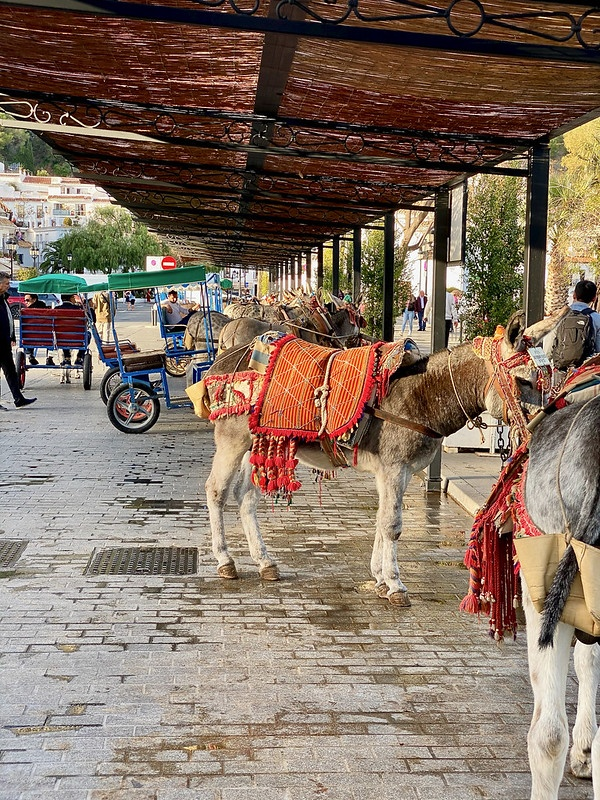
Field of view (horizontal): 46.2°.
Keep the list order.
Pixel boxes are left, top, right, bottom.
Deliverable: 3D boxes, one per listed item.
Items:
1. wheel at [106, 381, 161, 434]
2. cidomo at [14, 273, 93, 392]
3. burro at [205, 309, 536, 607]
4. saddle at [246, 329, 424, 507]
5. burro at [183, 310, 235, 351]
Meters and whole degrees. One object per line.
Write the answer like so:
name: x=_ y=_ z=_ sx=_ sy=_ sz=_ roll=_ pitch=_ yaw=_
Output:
wheel: x=-2.842 y=0.141 z=12.005 sx=1.060 sy=0.929 sz=0.400 roll=2 pitch=9 yaw=-7
cidomo: x=-5.900 y=-1.669 z=16.794 sx=1.791 sy=2.427 sz=2.794 roll=0 pitch=7 yaw=-20
burro: x=0.527 y=0.437 z=5.236 sx=2.686 sy=1.714 sz=0.660 roll=-3 pitch=-4 yaw=12
saddle: x=0.419 y=0.075 z=5.444 sx=1.299 sy=1.155 sz=1.344 roll=5 pitch=19 yaw=44
burro: x=-1.818 y=-1.328 z=13.370 sx=0.778 sy=0.649 sz=0.938 roll=3 pitch=-3 yaw=-29
